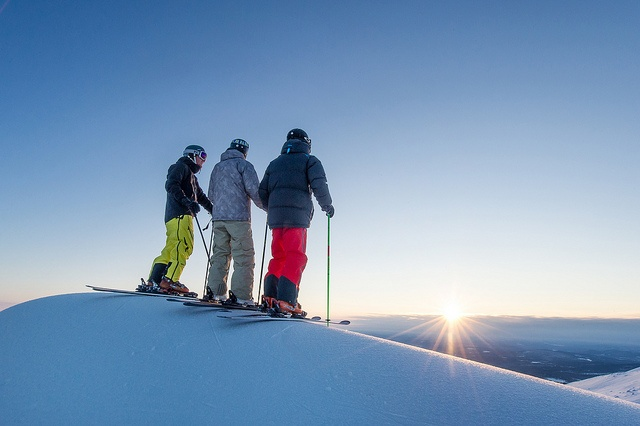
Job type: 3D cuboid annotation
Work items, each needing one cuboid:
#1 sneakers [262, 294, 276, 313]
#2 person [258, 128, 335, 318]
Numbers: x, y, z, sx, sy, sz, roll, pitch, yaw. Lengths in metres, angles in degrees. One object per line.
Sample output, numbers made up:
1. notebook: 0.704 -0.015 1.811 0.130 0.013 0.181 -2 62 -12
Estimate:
1. sneakers: -0.654 1.146 5.469 0.156 0.153 0.398 0 0 -10
2. person: -0.462 0.055 6.027 0.935 2.539 0.983 0 0 41
